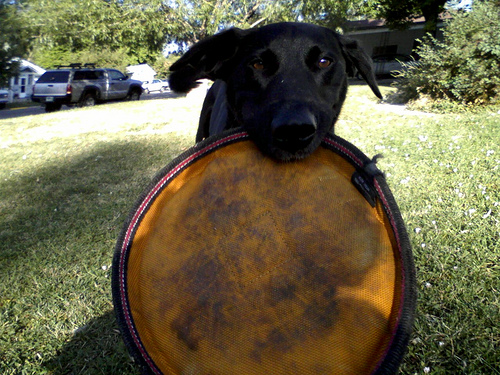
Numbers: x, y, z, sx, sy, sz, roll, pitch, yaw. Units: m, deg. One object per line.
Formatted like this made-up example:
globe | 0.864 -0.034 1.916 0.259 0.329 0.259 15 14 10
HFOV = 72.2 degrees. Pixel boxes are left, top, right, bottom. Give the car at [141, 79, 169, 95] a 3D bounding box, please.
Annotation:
car | -9.396 -9.920 33.607 2.210 1.239 3.840 -5 24 -18

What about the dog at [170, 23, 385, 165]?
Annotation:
dog | 0.170 -0.741 2.737 0.850 0.964 2.046 0 30 -5
